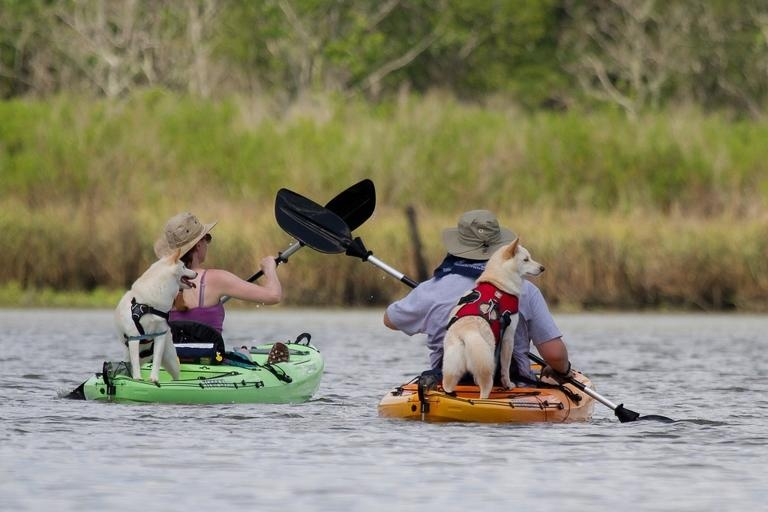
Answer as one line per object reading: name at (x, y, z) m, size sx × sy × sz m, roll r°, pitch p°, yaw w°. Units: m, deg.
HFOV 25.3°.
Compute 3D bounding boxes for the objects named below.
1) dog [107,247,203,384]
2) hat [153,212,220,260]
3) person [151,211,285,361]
dog at (-2.671, 0.607, 19.822) m, size 0.592 × 2.070 × 1.110 m, roll 5°, pitch 46°, yaw -33°
hat at (-2.344, -0.176, 20.156) m, size 0.250 × 0.615 × 0.543 m, roll 45°, pitch 1°, yaw -17°
person at (-2.125, 0.443, 22.394) m, size 1.379 × 2.170 × 1.024 m, roll 11°, pitch 30°, yaw 13°
